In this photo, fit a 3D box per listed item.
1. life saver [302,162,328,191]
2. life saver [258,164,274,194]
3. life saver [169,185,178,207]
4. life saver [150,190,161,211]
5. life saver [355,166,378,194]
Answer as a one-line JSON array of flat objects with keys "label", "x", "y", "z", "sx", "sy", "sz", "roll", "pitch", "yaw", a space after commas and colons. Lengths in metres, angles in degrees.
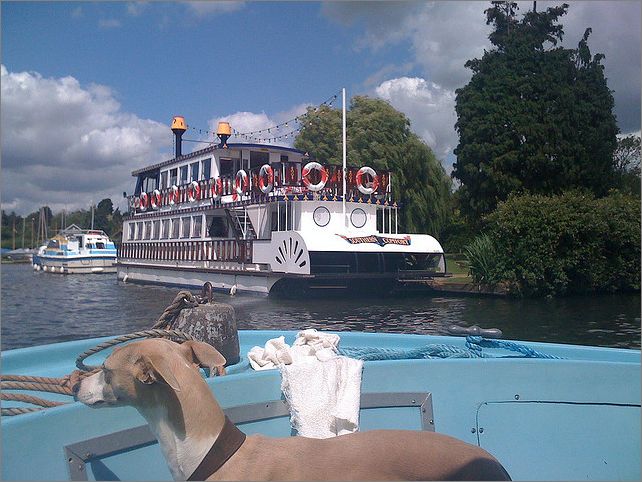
[{"label": "life saver", "x": -0.160, "y": -2.203, "z": 19.262, "sx": 0.932, "sy": 1.033, "sz": 0.434, "roll": 0, "pitch": -2, "yaw": -30}, {"label": "life saver", "x": -1.956, "y": -2.195, "z": 20.027, "sx": 0.237, "sy": 1.007, "sz": 0.807, "roll": 0, "pitch": -3, "yaw": -35}, {"label": "life saver", "x": -7.036, "y": -2.144, "z": 26.949, "sx": 0.155, "sy": 1.037, "sz": 0.927, "roll": -2, "pitch": 3, "yaw": -32}, {"label": "life saver", "x": -8.494, "y": -2.087, "z": 29.053, "sx": 0.204, "sy": 1.116, "sz": 0.950, "roll": -2, "pitch": 5, "yaw": -32}, {"label": "life saver", "x": 1.653, "y": -2.136, "z": 20.177, "sx": 0.843, "sy": 0.965, "sz": 0.232, "roll": 7, "pitch": -8, "yaw": -31}]
